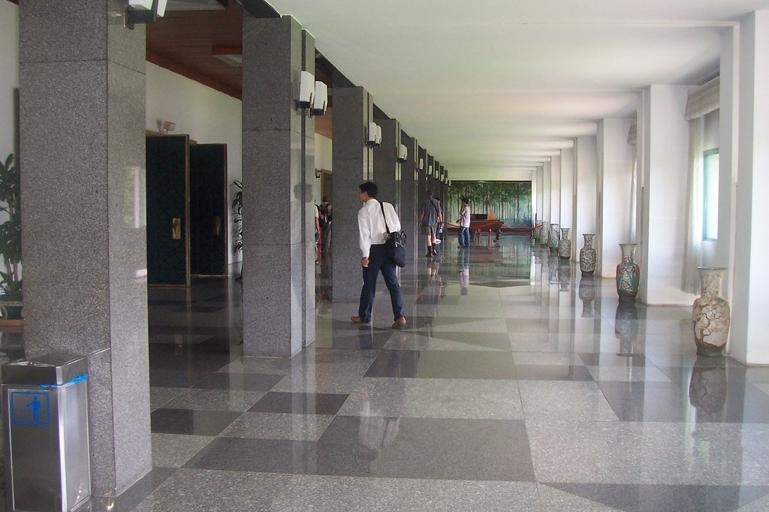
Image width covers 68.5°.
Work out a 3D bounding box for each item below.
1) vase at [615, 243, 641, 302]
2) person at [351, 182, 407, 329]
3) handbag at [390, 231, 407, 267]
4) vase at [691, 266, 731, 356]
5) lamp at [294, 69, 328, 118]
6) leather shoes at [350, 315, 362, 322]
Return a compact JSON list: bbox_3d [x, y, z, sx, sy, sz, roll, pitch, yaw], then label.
[{"bbox_3d":[4.701,0.300,10.871,0.388,1.091,0.473,4,8,25],"label":"vase"},{"bbox_3d":[-0.061,0.008,8.375,0.676,2.163,0.505,0,8,-3],"label":"person"},{"bbox_3d":[0.178,-0.109,8.291,0.188,0.506,0.261,1,8,10],"label":"handbag"},{"bbox_3d":[4.184,0.703,7.216,0.401,1.119,0.296,4,9,28],"label":"vase"},{"bbox_3d":[-0.976,-2.126,7.316,0.262,0.505,0.543,3,8,19],"label":"lamp"},{"bbox_3d":[-0.472,0.995,8.933,0.183,0.078,0.068,5,2,32],"label":"leather shoes"}]
